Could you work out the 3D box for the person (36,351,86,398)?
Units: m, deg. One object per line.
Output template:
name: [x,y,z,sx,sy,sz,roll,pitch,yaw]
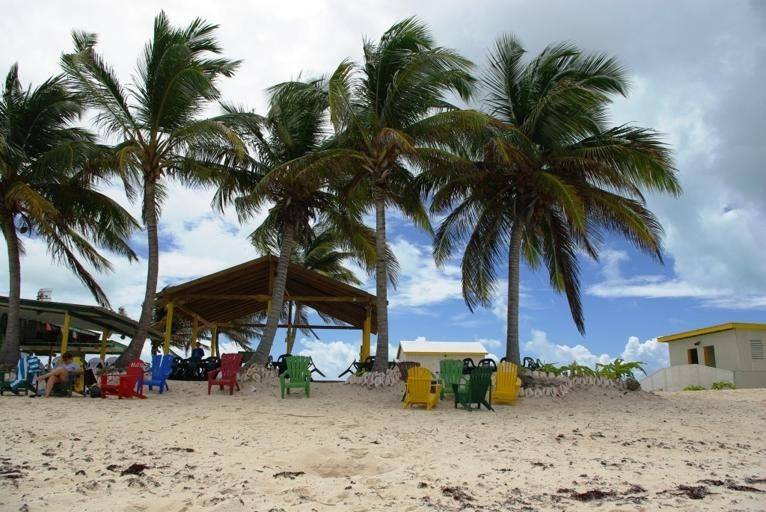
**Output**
person: [-9.112,3.373,15.163,0.702,1.396,1.036,-9,-24,16]
